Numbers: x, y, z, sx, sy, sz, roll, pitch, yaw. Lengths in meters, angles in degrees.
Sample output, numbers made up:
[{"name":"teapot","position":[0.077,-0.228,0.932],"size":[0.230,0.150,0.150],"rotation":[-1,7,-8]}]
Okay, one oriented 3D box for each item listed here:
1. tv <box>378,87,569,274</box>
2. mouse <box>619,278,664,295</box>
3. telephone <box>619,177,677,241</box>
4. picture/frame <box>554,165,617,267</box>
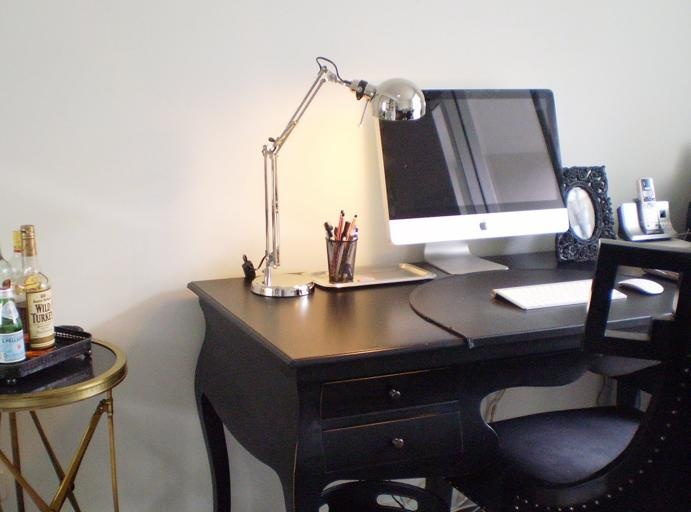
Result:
[{"name":"tv","position":[0.411,-0.258,1.851],"size":[0.541,0.548,0.165],"rotation":[-5,9,-23]},{"name":"mouse","position":[0.825,0.076,1.550],"size":[0.052,0.022,0.085],"rotation":[-9,19,-37]},{"name":"telephone","position":[1.169,-0.183,2.208],"size":[0.196,0.236,0.194],"rotation":[-5,3,-13]},{"name":"picture/frame","position":[0.811,-0.136,1.929],"size":[0.319,0.376,0.017],"rotation":[-3,-1,-28]}]
